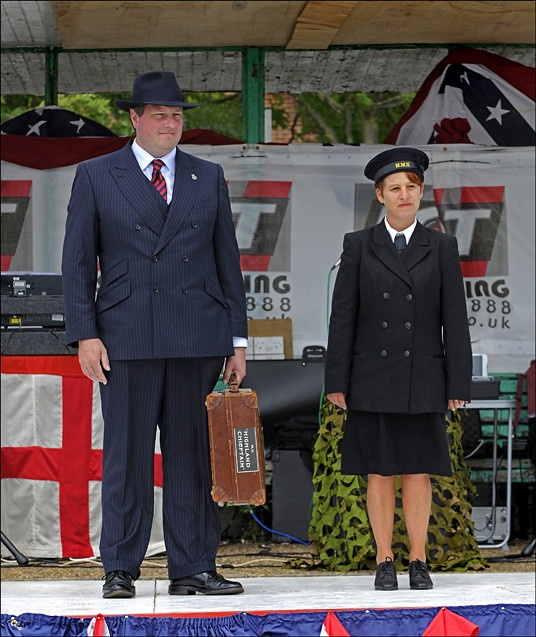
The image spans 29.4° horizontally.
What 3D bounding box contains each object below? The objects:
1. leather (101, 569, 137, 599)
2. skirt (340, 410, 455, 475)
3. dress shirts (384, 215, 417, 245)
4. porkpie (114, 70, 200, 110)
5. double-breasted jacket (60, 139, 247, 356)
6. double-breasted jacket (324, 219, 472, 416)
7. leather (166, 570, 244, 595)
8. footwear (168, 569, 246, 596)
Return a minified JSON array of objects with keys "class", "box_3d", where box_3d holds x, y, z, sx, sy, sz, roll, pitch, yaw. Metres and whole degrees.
[{"class":"leather","box_3d":[-0.534,0.948,3.676,0.089,0.075,0.204,2,-13,-8]},{"class":"skirt","box_3d":[0.500,0.514,4.160,0.556,0.384,0.265,0,-12,4]},{"class":"dress shirts","box_3d":[0.538,-0.352,4.130,0.114,0.111,0.047,1,0,5]},{"class":"porkpie","box_3d":[-0.421,-0.876,3.910,0.343,0.112,0.327,-7,18,-16]},{"class":"double-breasted jacket","box_3d":[-0.432,-0.258,3.909,0.685,0.825,0.294,-1,2,-5]},{"class":"double-breasted jacket","box_3d":[0.520,-0.005,4.094,0.576,0.752,0.259,-1,2,7]},{"class":"leather","box_3d":[-0.241,0.978,3.829,0.297,0.094,0.093,-3,-7,7]},{"class":"footwear","box_3d":[-0.226,0.986,3.844,0.314,0.099,0.092,-3,-7,7]}]
